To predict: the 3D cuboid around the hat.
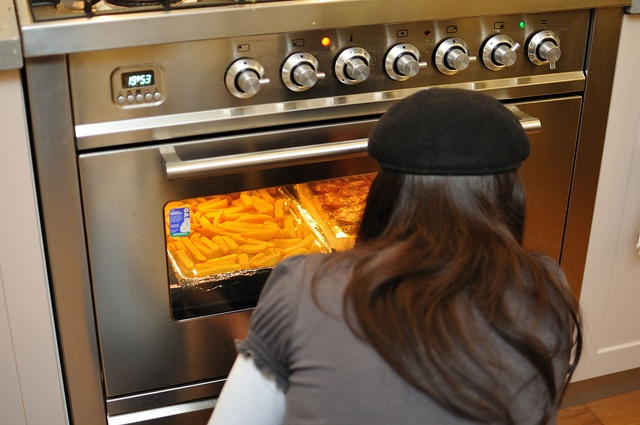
[{"bbox_3d":[0.219,-0.131,0.897,0.269,0.143,0.089,-6,23,4],"label":"hat"}]
